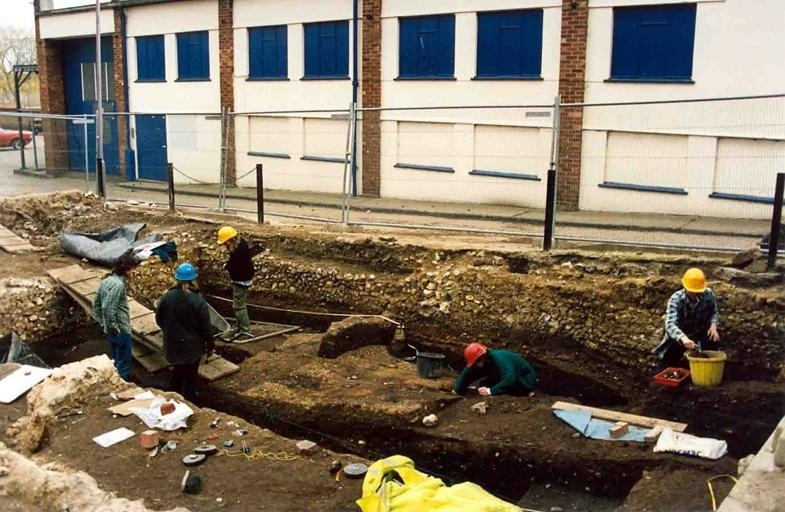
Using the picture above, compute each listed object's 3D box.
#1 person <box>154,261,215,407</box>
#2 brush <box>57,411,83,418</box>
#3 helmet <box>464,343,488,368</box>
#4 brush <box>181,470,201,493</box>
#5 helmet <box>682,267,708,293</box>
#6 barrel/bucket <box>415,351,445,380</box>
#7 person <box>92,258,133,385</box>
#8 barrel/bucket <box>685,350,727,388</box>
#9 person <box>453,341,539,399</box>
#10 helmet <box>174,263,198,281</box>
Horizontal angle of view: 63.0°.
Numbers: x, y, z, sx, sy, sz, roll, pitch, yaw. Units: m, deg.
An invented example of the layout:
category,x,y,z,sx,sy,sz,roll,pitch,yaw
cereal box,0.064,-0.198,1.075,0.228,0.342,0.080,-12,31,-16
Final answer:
category,x,y,z,sx,sy,sz,roll,pitch,yaw
person,-3.407,1.309,10.495,0.840,2.346,0.412,-4,12,-18
brush,-4.726,2.308,9.338,0.356,0.086,0.102,0,18,-18
helmet,1.348,1.605,10.311,0.328,0.427,0.320,2,11,11
brush,-2.608,2.910,8.324,0.246,0.163,0.363,-2,10,-11
helmet,4.675,0.351,9.895,0.336,0.243,0.441,4,24,16
barrel/bucket,0.626,1.905,11.241,0.475,0.308,0.439,0,4,0
person,-4.648,1.106,10.804,0.558,2.267,0.743,-9,14,-37
barrel/bucket,4.847,1.719,9.924,0.625,0.402,0.575,-3,4,0
person,1.686,1.837,10.334,1.316,0.772,0.785,-1,-7,-1
helmet,-3.430,0.264,10.567,0.352,0.238,0.419,-6,20,-28
